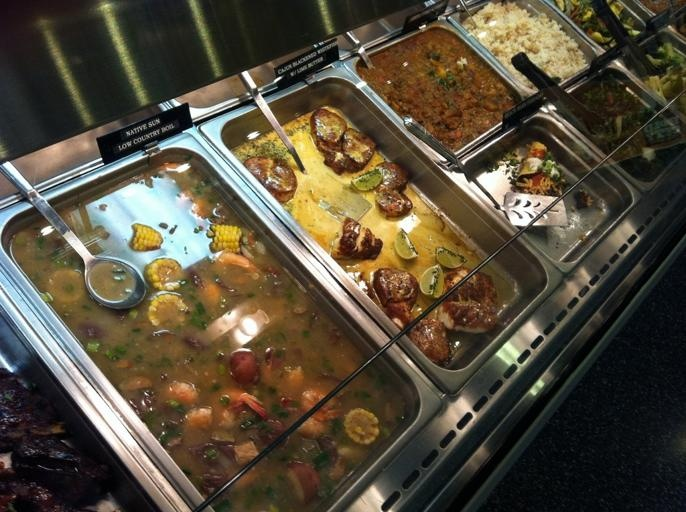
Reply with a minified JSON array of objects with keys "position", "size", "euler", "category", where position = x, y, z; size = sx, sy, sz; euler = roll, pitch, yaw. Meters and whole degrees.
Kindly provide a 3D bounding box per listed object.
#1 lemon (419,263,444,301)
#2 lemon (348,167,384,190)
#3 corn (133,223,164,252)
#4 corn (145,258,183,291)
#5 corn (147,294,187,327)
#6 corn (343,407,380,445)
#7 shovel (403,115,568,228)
[{"position":[0.292,0.080,1.513],"size":[0.035,0.078,0.104],"euler":[10,-80,-65],"category":"lemon"},{"position":[0.093,-0.292,1.823],"size":[0.112,0.080,0.041],"euler":[-37,-21,-3],"category":"lemon"},{"position":[-0.578,-0.054,1.379],"size":[0.088,0.076,0.025],"euler":[7,-24,-21],"category":"corn"},{"position":[-0.532,0.056,1.368],"size":[0.035,0.104,0.105],"euler":[-17,-8,35],"category":"corn"},{"position":[-0.499,0.153,1.314],"size":[0.093,0.091,0.022],"euler":[-38,-15,-11],"category":"corn"},{"position":[0.045,0.399,1.116],"size":[0.081,0.079,0.018],"euler":[3,9,18],"category":"corn"},{"position":[0.457,-0.270,1.550],"size":[0.248,0.504,0.083],"euler":[-44,-6,-43],"category":"shovel"}]
